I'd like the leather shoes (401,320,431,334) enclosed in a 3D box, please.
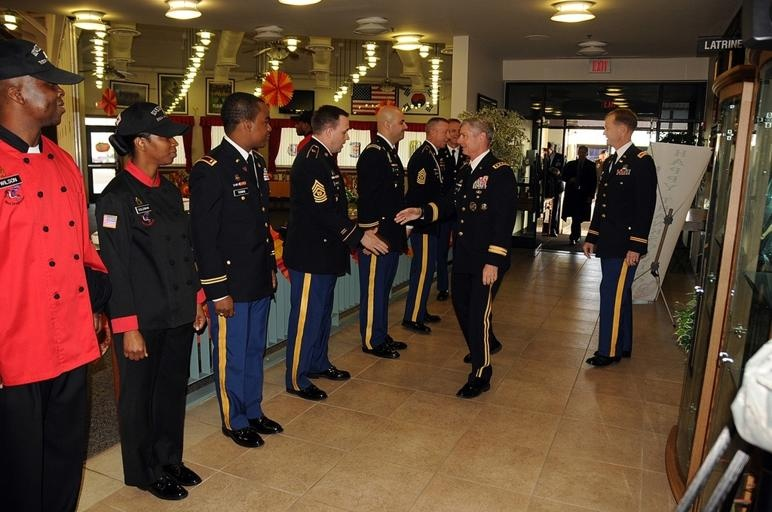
[{"bbox_3d":[0.313,0.737,5.818,0.291,0.113,0.112,3,4,23],"label":"leather shoes"}]

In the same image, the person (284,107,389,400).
[{"bbox_3d":[-0.509,-0.024,4.250,0.608,2.192,0.508,-7,16,-30],"label":"person"}]

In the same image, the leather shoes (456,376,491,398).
[{"bbox_3d":[0.691,1.023,4.418,0.297,0.121,0.123,-5,9,-41],"label":"leather shoes"}]

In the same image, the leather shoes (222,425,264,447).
[{"bbox_3d":[-0.974,1.197,3.749,0.294,0.105,0.108,5,7,18],"label":"leather shoes"}]

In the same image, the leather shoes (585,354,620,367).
[{"bbox_3d":[1.937,0.921,4.998,0.294,0.078,0.110,0,13,-13],"label":"leather shoes"}]

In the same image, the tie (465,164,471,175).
[{"bbox_3d":[0.645,-0.677,4.375,0.018,0.066,0.050,15,-38,-38],"label":"tie"}]

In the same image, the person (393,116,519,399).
[{"bbox_3d":[0.761,-0.018,4.467,0.466,2.122,0.854,3,14,6],"label":"person"}]

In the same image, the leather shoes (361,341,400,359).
[{"bbox_3d":[-0.031,0.858,5.131,0.278,0.108,0.141,0,1,16],"label":"leather shoes"}]

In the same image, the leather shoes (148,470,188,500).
[{"bbox_3d":[-1.297,1.344,3.268,0.270,0.103,0.099,3,12,18],"label":"leather shoes"}]

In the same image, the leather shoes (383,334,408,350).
[{"bbox_3d":[0.091,0.816,5.281,0.290,0.112,0.095,8,13,-15],"label":"leather shoes"}]

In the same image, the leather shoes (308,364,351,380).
[{"bbox_3d":[-0.470,0.964,4.667,0.350,0.126,0.128,-1,0,2],"label":"leather shoes"}]

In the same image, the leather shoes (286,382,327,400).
[{"bbox_3d":[-0.621,1.050,4.350,0.300,0.122,0.117,1,2,12],"label":"leather shoes"}]

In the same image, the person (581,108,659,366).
[{"bbox_3d":[2.054,-0.158,4.957,0.514,2.225,0.557,0,14,-5],"label":"person"}]

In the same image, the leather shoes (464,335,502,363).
[{"bbox_3d":[0.911,0.858,5.138,0.163,0.215,0.486,-8,-2,32],"label":"leather shoes"}]

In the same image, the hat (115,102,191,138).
[{"bbox_3d":[-1.314,-0.755,3.135,0.333,0.132,0.226,-2,23,-13],"label":"hat"}]

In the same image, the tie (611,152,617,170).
[{"bbox_3d":[2.027,-0.880,4.972,0.044,0.089,0.064,4,-4,-9],"label":"tie"}]

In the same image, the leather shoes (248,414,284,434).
[{"bbox_3d":[-0.825,1.159,3.844,0.259,0.100,0.100,5,7,9],"label":"leather shoes"}]
